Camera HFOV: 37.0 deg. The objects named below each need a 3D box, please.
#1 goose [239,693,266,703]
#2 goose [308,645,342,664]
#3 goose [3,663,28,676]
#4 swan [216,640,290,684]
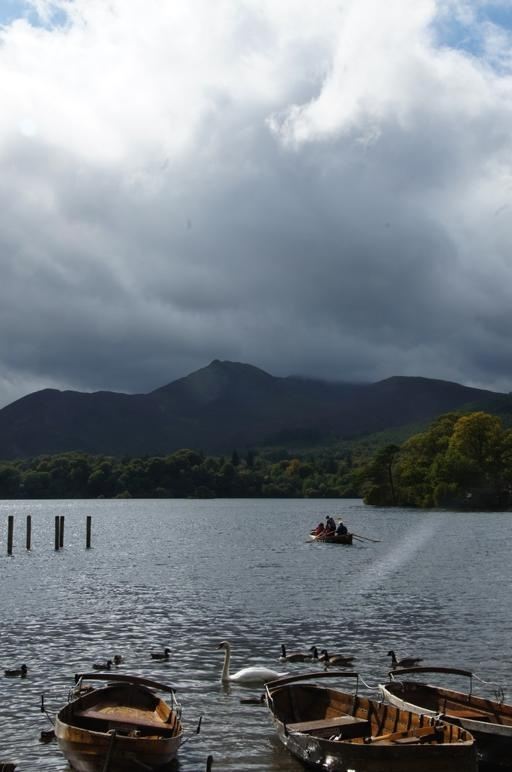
[{"bbox_3d":[-0.111,8.305,20.422,0.649,0.185,0.797,0,-6,-4],"label":"goose"},{"bbox_3d":[2.246,8.568,24.269,0.393,0.528,1.324,10,-5,-42],"label":"goose"},{"bbox_3d":[-7.129,8.370,22.633,0.523,0.322,0.291,2,-4,13],"label":"goose"},{"bbox_3d":[-0.459,8.269,22.703,2.694,1.548,1.006,-1,-21,10],"label":"swan"}]
